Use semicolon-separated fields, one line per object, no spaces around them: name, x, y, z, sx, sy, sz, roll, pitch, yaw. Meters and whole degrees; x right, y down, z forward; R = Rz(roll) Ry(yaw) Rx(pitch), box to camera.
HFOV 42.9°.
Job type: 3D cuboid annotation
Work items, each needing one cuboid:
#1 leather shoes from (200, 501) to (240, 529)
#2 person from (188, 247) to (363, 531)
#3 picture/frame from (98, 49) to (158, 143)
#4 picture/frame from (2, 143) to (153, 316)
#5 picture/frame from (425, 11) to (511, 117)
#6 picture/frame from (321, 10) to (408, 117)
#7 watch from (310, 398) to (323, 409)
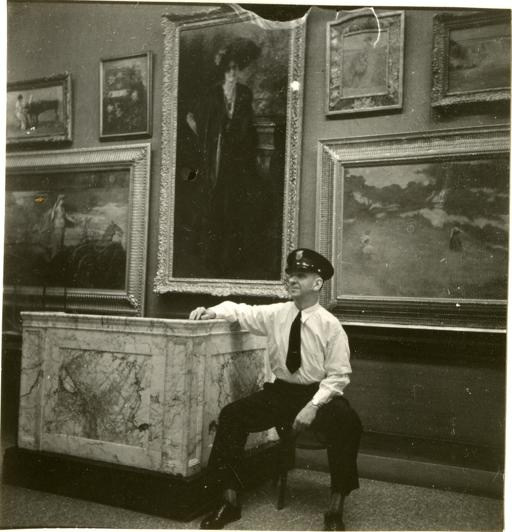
leather shoes;-0.184;1.357;3.567;0.240;0.158;0.077;0;7;-22
person;0.156;0.793;3.891;0.938;1.658;0.739;-7;-24;24
picture/frame;-0.989;-1.363;5.153;0.577;0.957;0.039;-1;-2;20
picture/frame;-1.381;-0.242;5.188;1.101;1.167;0.060;0;0;20
picture/frame;1.378;-1.287;4.159;0.561;0.721;0.055;0;-1;15
picture/frame;0.763;-1.370;4.423;0.600;0.919;0.041;2;3;30
watch;0.335;0.764;3.623;0.069;0.079;0.048;5;-2;-25
